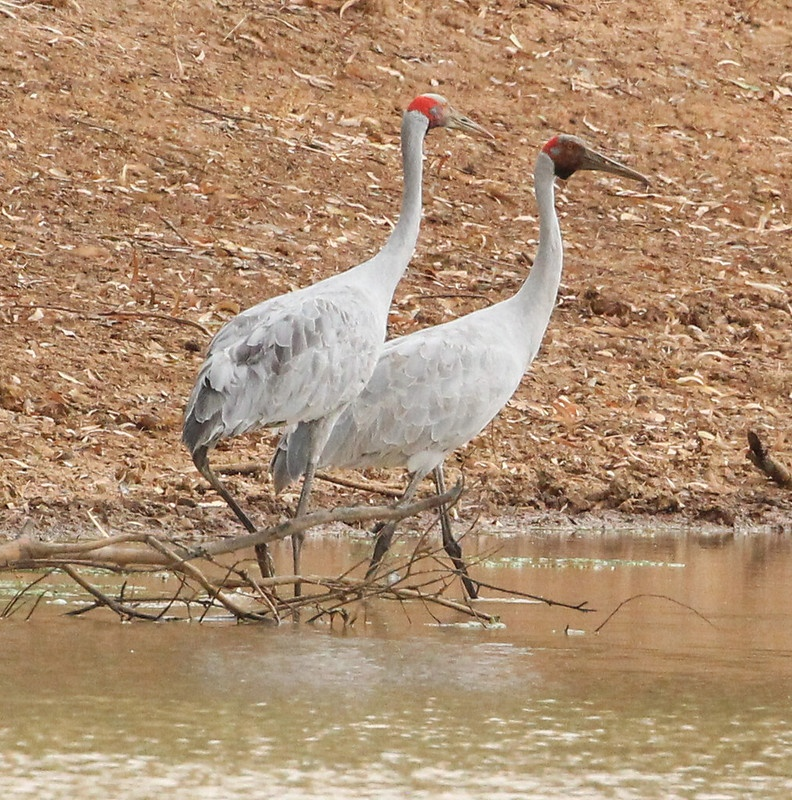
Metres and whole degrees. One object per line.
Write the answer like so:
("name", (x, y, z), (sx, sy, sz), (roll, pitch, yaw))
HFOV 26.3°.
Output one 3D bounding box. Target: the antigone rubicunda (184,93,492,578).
("antigone rubicunda", (-0.413, -0.318, 9.236), (0.772, 1.925, 1.913), (0, 3, 21))
